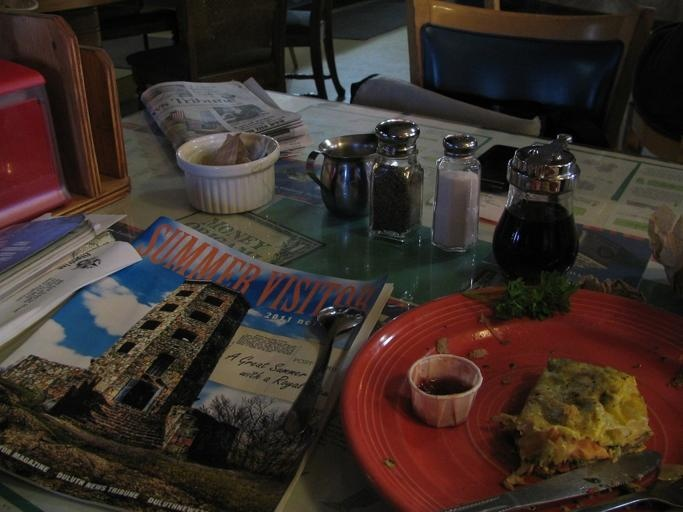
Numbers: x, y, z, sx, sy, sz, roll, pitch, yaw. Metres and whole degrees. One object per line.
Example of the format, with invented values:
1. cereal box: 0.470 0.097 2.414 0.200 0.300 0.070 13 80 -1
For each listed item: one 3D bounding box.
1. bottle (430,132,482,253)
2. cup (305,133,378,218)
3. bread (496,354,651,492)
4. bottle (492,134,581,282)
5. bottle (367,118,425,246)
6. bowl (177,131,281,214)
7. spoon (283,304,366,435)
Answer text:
1. bottle: 0.163 -0.088 0.696 0.069 0.151 0.084 7 38 12
2. cup: -0.007 -0.111 0.764 0.084 0.096 0.138 16 23 33
3. bread: 0.222 0.152 0.470 0.117 0.046 0.175 3 27 42
4. bottle: 0.257 -0.058 0.651 0.121 0.169 0.114 -1 25 0
5. bottle: 0.079 -0.106 0.734 0.084 0.158 0.078 1 22 0
6. bowl: -0.180 -0.136 0.811 0.155 0.078 0.148 1 32 -1
7. spoon: -0.019 0.111 0.533 0.063 0.016 0.191 0 30 17
